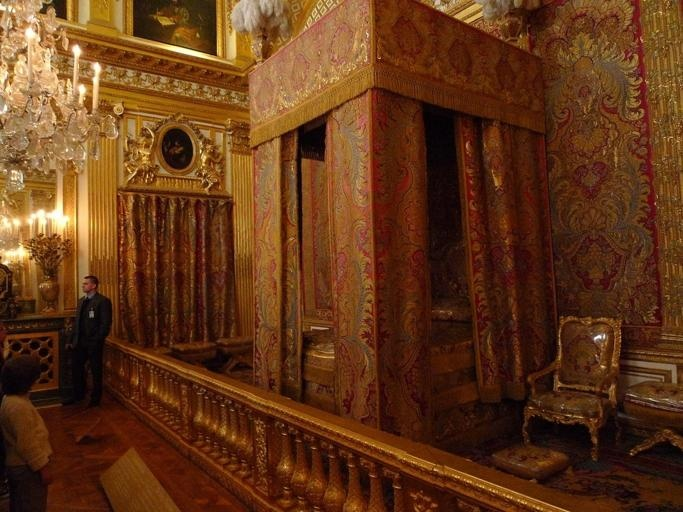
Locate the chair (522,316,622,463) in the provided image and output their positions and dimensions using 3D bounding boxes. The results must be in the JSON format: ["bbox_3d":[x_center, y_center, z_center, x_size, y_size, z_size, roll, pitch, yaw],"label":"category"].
[{"bbox_3d":[2.291,1.261,5.523,0.825,1.319,0.837,0,-1,-21],"label":"chair"}]

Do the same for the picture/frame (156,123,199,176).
[{"bbox_3d":[-2.913,-1.883,9.910,0.105,1.124,0.862,-1,0,41],"label":"picture/frame"}]

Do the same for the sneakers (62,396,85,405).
[{"bbox_3d":[-3.490,1.863,7.327,0.253,0.089,0.166,-2,12,-21],"label":"sneakers"}]

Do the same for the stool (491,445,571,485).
[{"bbox_3d":[1.613,1.753,4.809,0.585,0.145,0.352,-3,12,-25],"label":"stool"}]

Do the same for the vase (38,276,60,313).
[{"bbox_3d":[-4.415,0.550,8.538,0.262,0.548,0.296,-1,-2,12],"label":"vase"}]

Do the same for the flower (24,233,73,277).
[{"bbox_3d":[-4.396,0.029,8.446,0.557,0.737,0.601,-4,-3,-5],"label":"flower"}]

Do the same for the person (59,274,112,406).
[{"bbox_3d":[-3.297,1.114,7.326,0.578,1.652,0.939,-3,11,-28],"label":"person"}]
